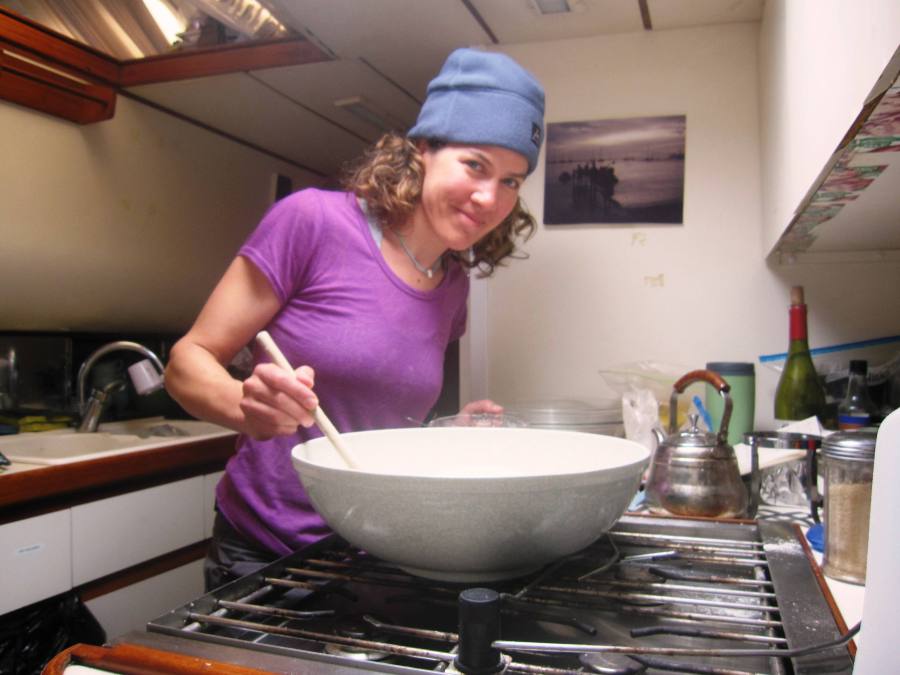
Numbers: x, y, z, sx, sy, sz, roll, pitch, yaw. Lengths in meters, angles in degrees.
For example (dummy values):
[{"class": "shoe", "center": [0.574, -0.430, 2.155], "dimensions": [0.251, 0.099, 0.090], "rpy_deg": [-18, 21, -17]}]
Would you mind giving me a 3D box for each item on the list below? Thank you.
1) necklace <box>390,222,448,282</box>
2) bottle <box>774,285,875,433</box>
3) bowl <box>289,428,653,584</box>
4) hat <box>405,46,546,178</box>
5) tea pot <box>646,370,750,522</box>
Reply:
[{"class": "necklace", "center": [-0.066, -0.175, 1.387], "dimensions": [0.024, 0.092, 0.098], "rpy_deg": [-38, -26, 28]}, {"class": "bottle", "center": [0.997, 0.044, 1.840], "dimensions": [0.134, 0.372, 0.256], "rpy_deg": [2, 5, 27]}, {"class": "bowl", "center": [0.047, 0.238, 0.945], "dimensions": [0.453, 0.182, 0.360], "rpy_deg": [2, 5, 16]}, {"class": "hat", "center": [0.068, -0.474, 1.415], "dimensions": [0.274, 0.173, 0.211], "rpy_deg": [14, -1, 33]}, {"class": "tea pot", "center": [0.534, 0.220, 1.405], "dimensions": [0.202, 0.280, 0.282], "rpy_deg": [2, 5, 24]}]
